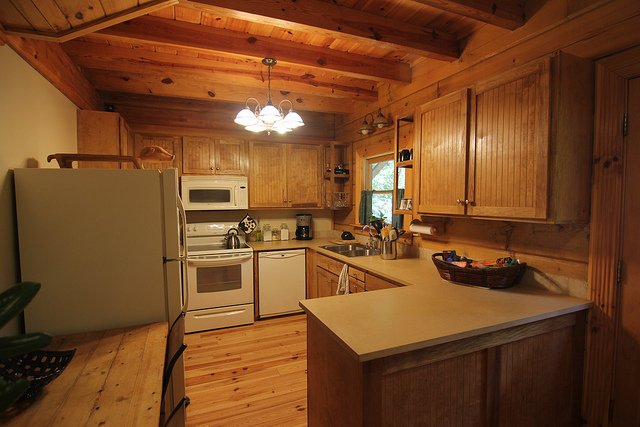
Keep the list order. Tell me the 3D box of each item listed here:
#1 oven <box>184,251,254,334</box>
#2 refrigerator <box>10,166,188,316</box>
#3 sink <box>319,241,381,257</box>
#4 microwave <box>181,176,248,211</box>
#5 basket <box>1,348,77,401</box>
[{"bbox_3d":[-1.300,0.912,5.299,0.880,0.918,0.684,-1,0,-40],"label":"oven"},{"bbox_3d":[-1.620,0.279,3.578,1.175,1.370,0.879,1,12,-9],"label":"refrigerator"},{"bbox_3d":[0.325,0.414,5.103,0.567,0.150,0.777,-3,3,-9],"label":"sink"},{"bbox_3d":[-1.309,-0.296,5.518,0.825,0.508,0.473,-1,20,-11],"label":"microwave"},{"bbox_3d":[-1.698,0.959,2.659,0.382,0.209,0.298,-4,4,-29],"label":"basket"}]
